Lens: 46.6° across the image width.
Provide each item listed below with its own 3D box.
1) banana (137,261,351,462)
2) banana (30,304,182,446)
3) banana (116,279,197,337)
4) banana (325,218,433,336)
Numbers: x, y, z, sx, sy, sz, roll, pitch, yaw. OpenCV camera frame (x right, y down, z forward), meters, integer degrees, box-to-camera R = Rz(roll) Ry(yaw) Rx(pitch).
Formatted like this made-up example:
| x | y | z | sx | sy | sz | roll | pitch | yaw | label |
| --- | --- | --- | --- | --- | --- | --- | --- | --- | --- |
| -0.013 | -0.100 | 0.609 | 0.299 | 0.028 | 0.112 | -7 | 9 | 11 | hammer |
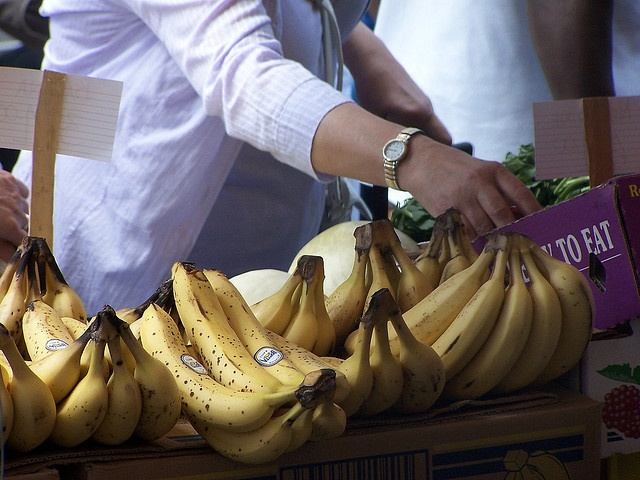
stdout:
| x | y | z | sx | sy | sz | roll | pitch | yaw | label |
| --- | --- | --- | --- | --- | --- | --- | --- | --- | --- |
| -0.154 | 0.265 | 1.407 | 0.212 | 0.188 | 0.478 | -32 | 43 | -17 | banana |
| -0.370 | 0.229 | 1.308 | 0.160 | 0.204 | 0.302 | -4 | -5 | -27 | banana |
| -0.344 | 0.142 | 1.566 | 0.060 | 0.096 | 0.031 | 29 | -3 | 31 | banana |
| 0.119 | 0.086 | 1.583 | 0.179 | 0.183 | 0.084 | -25 | 12 | -25 | banana |
